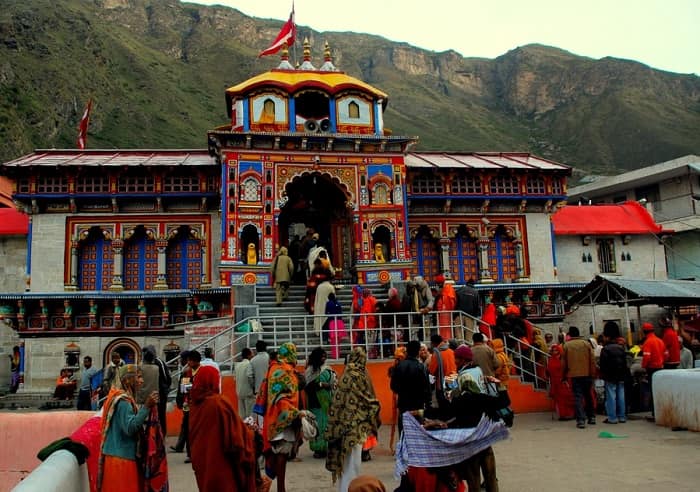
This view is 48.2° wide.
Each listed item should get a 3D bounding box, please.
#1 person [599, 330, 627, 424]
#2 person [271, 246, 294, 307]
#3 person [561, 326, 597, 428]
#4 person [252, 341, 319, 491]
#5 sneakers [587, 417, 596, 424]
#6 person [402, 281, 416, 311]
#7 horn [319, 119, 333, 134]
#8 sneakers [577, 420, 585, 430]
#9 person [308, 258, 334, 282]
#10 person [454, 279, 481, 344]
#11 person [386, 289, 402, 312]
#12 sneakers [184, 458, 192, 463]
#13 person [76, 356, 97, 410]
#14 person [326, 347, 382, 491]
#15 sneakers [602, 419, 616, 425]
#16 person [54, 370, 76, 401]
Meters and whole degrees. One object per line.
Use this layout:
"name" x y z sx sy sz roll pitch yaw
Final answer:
"person" 7.836 4.082 23.304 0.833 2.425 0.827 -4 -10 16
"person" -2.467 1.002 28.192 0.708 2.188 1.045 0 -10 -6
"person" 6.850 3.930 23.435 0.994 2.990 0.781 6 -12 -37
"person" -1.631 4.155 19.050 1.398 3.537 0.601 0 -10 -4
"sneakers" 7.136 5.226 23.334 0.223 0.221 0.276 -3 -9 13
"person" 1.866 1.678 26.022 0.340 0.998 0.553 8 -13 -44
"horn" -1.004 -4.971 31.933 0.644 0.526 0.606 3 -2 -18
"sneakers" 6.724 5.271 23.007 0.272 0.244 0.360 -3 -9 15
"person" -1.052 0.821 27.288 0.943 0.805 0.495 -2 10 -2
"person" 3.854 2.132 26.040 0.778 2.175 1.406 -2 -9 7
"person" 1.376 1.778 25.807 0.520 0.810 0.596 -1 -9 2
"sneakers" -4.394 5.874 21.251 0.199 0.159 0.427 4 -16 -17
"person" -8.637 4.684 25.828 0.674 1.951 0.679 -10 -15 17
"person" 0.033 4.257 19.171 1.154 3.466 0.633 7 -13 -40
"sneakers" 7.693 5.258 23.320 0.295 0.110 0.138 -6 -7 30
"person" -11.228 5.520 31.030 0.713 1.154 0.860 -10 -13 44
